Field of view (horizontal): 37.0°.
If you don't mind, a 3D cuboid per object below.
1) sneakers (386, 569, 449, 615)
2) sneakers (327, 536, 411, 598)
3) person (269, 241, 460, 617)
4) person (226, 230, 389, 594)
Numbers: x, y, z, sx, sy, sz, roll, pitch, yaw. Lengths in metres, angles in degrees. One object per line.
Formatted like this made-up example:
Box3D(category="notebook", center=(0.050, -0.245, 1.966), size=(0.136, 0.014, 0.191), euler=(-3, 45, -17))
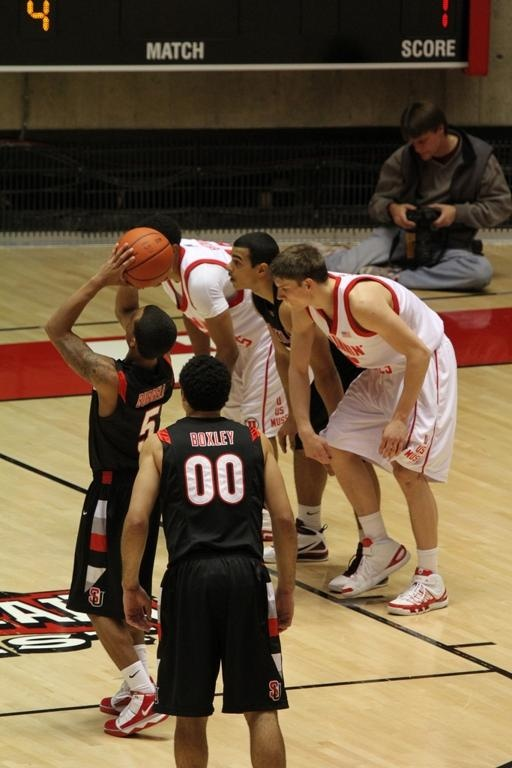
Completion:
Box3D(category="sneakers", center=(0.536, 0.683, 2.526), size=(0.250, 0.140, 0.091), euler=(-2, -2, -30))
Box3D(category="sneakers", center=(0.398, 0.644, 2.652), size=(0.226, 0.123, 0.077), euler=(-32, 26, -1))
Box3D(category="person", center=(0.352, 0.159, 2.447), size=(0.550, 1.147, 0.692), euler=(2, 4, 13))
Box3D(category="person", center=(0.198, 0.109, 2.744), size=(0.775, 1.335, 0.449), euler=(-8, 25, -24))
